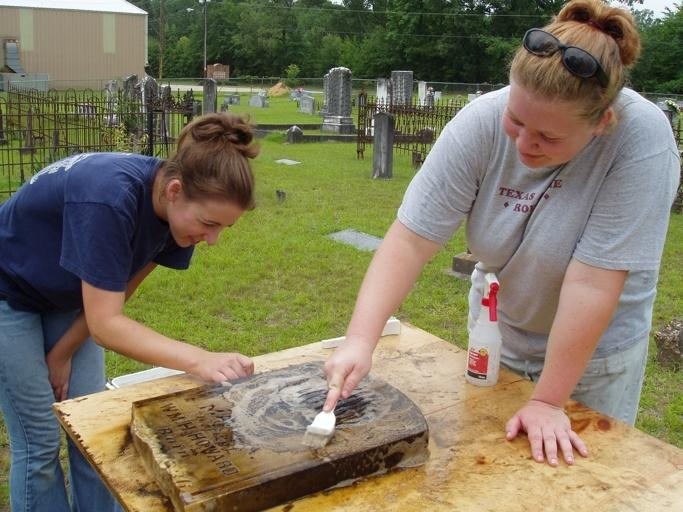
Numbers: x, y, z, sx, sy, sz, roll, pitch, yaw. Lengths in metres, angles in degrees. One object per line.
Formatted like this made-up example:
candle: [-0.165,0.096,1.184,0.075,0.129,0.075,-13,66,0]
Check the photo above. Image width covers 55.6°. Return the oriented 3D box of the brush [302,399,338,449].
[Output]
brush: [-0.069,0.535,2.025,0.062,0.044,0.116,3,37,31]

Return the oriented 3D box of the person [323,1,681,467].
person: [0.672,-0.106,2.511,0.822,1.716,1.030,8,18,-1]
